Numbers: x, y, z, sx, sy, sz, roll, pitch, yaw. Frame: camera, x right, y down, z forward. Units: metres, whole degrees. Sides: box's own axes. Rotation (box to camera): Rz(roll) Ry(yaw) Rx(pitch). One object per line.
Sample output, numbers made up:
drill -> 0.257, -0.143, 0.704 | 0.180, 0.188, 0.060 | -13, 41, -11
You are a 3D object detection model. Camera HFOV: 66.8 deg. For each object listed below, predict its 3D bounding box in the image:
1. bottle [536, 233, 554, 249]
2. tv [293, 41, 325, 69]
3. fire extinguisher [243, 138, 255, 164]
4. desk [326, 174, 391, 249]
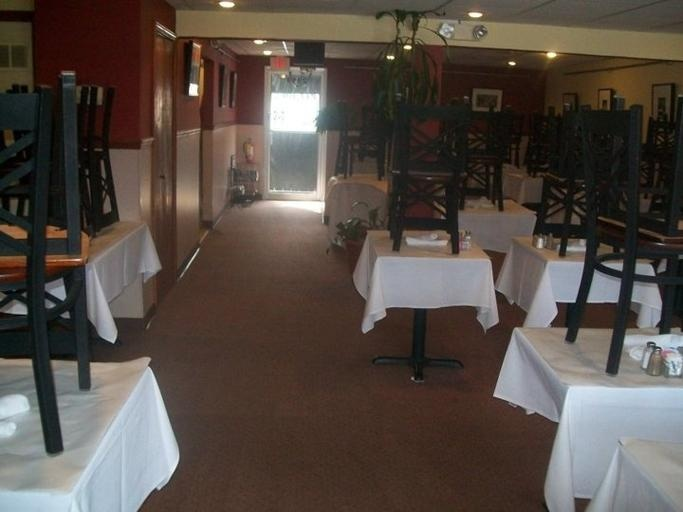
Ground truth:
bottle -> 1.507, -0.119, 3.846 | 0.126, 0.108, 0.086 | 3, 6, 8
tv -> -0.405, -2.510, 6.613 | 0.352, 0.310, 0.370 | 1, 9, -1
fire extinguisher -> -1.962, -2.233, 11.017 | 0.243, 0.514, 0.275 | -2, 13, -11
desk -> 0.205, -0.634, 7.011 | 0.821, 0.913, 0.890 | 1, 9, -5
